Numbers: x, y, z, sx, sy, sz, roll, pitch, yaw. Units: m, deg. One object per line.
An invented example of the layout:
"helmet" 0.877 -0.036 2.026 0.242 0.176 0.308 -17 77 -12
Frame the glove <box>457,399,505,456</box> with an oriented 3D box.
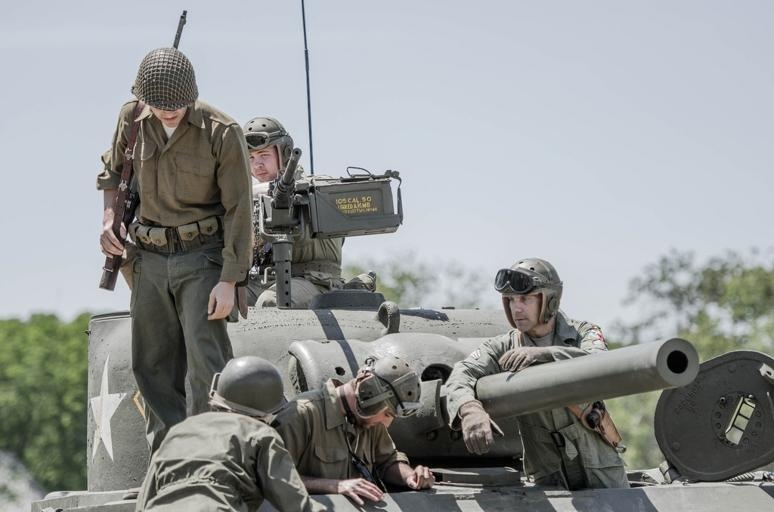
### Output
"glove" 0.859 1.693 14.292 0.521 0.461 0.782 -5 2 2
